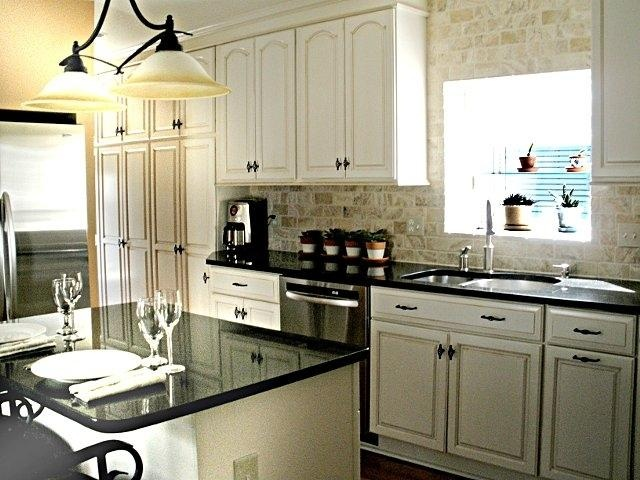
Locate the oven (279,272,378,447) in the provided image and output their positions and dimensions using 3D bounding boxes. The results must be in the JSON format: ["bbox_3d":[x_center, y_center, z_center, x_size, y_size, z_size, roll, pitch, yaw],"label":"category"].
[{"bbox_3d":[0.041,0.678,3.804,0.661,0.804,0.641,7,12,21],"label":"oven"}]

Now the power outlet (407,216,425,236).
[{"bbox_3d":[0.709,-0.103,3.856,0.139,0.131,0.020,5,6,42],"label":"power outlet"}]

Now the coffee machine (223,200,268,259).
[{"bbox_3d":[-0.634,-0.121,4.565,0.359,0.455,0.468,1,8,4],"label":"coffee machine"}]

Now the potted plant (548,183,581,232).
[{"bbox_3d":[1.616,-0.199,3.411,0.134,0.297,0.176,5,9,30],"label":"potted plant"}]

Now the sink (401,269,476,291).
[{"bbox_3d":[0.769,0.249,3.478,0.250,0.090,0.196,-2,3,-44],"label":"sink"}]

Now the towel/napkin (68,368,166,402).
[{"bbox_3d":[-0.631,0.457,1.682,0.173,0.031,0.102,-10,11,-44],"label":"towel/napkin"}]

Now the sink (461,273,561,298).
[{"bbox_3d":[1.211,0.279,3.305,0.235,0.106,0.286,-3,2,-43],"label":"sink"}]

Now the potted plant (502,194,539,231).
[{"bbox_3d":[1.316,-0.179,3.511,0.232,0.256,0.221,5,-8,-21],"label":"potted plant"}]

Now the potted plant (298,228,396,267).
[{"bbox_3d":[0.181,0.032,4.054,0.784,0.255,0.301,5,10,34],"label":"potted plant"}]

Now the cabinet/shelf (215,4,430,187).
[{"bbox_3d":[0.074,-1.046,3.793,1.433,0.969,0.423,1,1,39],"label":"cabinet/shelf"}]

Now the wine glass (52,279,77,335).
[{"bbox_3d":[-1.087,0.262,2.272,0.102,0.275,0.340,-4,9,-26],"label":"wine glass"}]
